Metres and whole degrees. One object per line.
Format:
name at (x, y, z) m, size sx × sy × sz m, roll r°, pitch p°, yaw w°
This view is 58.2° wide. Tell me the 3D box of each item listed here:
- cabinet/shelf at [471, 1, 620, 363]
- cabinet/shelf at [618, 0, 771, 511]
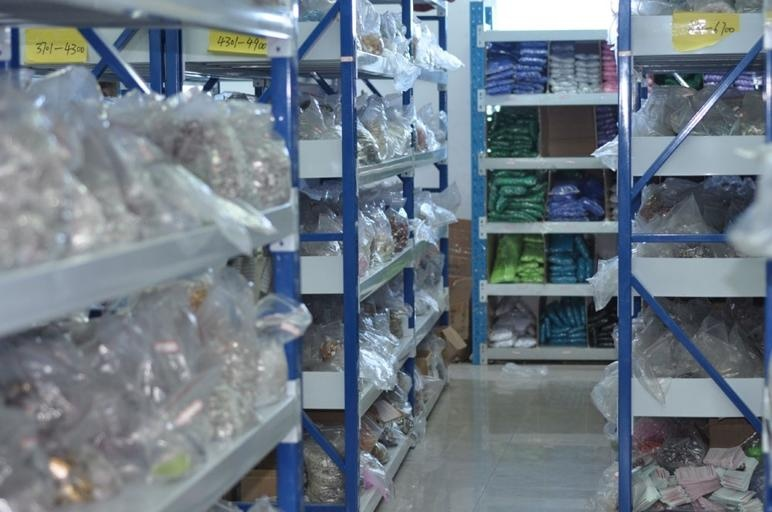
cabinet/shelf at (1.036, -0.592, 5.592) m, size 0.702 × 2.870 × 0.450 m, roll -1°, pitch 8°, yaw 5°
cabinet/shelf at (1.263, 0.016, 3.106) m, size 0.520 × 2.268 × 0.615 m, roll 1°, pitch 9°, yaw 17°
